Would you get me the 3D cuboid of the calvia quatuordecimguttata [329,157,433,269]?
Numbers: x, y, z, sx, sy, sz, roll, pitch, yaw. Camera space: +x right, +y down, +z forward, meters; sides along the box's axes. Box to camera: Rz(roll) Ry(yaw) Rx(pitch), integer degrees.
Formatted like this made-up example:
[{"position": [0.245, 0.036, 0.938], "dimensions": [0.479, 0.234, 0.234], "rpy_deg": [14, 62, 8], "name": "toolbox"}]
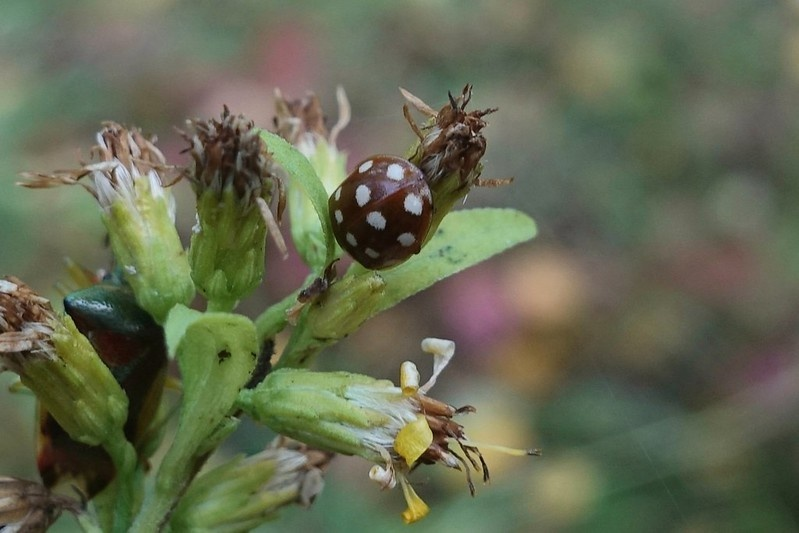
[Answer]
[{"position": [-0.047, -0.127, 2.238], "dimensions": [0.251, 0.273, 0.098], "rpy_deg": [13, 1, -2], "name": "calvia quatuordecimguttata"}]
